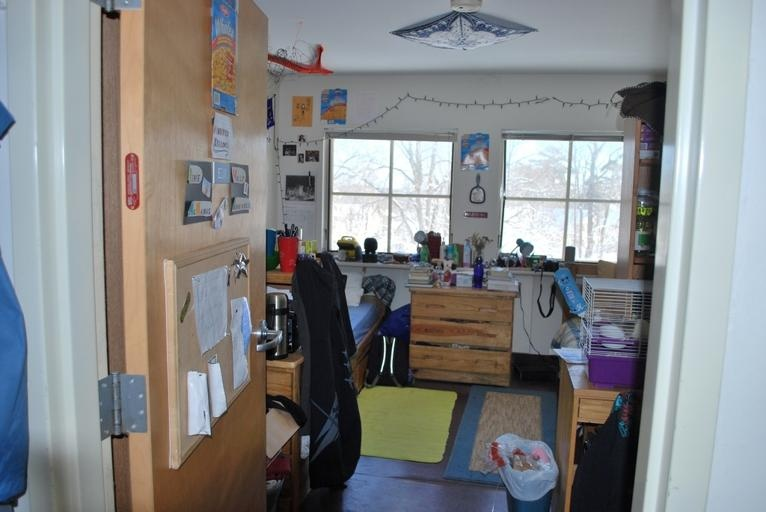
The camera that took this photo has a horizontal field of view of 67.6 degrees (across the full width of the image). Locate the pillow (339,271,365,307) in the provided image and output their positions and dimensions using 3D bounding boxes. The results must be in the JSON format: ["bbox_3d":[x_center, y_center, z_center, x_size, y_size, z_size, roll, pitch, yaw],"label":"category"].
[{"bbox_3d":[-0.289,0.309,5.653,0.228,0.287,0.085,-5,-17,15],"label":"pillow"}]

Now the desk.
[{"bbox_3d":[1.025,0.952,2.884,0.291,0.866,0.642,4,10,18],"label":"desk"}]

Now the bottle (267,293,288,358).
[{"bbox_3d":[-0.539,0.357,2.919,0.118,0.372,0.262,-2,10,-12],"label":"bottle"}]

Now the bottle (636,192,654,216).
[{"bbox_3d":[1.627,-0.320,3.539,0.116,0.112,0.120,2,5,18],"label":"bottle"}]

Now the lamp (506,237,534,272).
[{"bbox_3d":[1.410,-0.048,5.857,0.223,0.277,0.302,3,10,15],"label":"lamp"}]

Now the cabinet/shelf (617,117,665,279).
[{"bbox_3d":[1.600,-0.338,3.598,0.211,1.087,0.815,5,11,21],"label":"cabinet/shelf"}]

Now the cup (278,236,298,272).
[{"bbox_3d":[-0.572,-0.017,3.405,0.103,0.205,0.133,-2,10,-15],"label":"cup"}]

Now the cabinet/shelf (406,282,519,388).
[{"bbox_3d":[0.706,0.653,5.208,0.906,0.867,0.446,3,18,12],"label":"cabinet/shelf"}]
